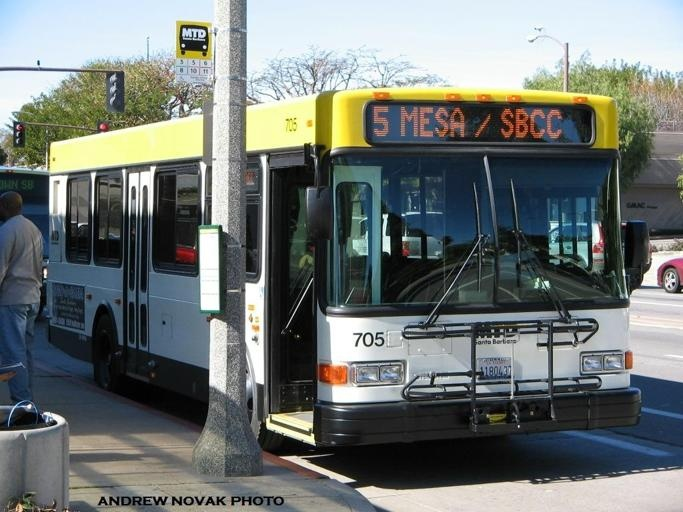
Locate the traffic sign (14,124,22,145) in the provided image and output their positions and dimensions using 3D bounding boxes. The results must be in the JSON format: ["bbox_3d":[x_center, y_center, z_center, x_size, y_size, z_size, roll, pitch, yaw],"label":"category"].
[{"bbox_3d":[-14.543,-5.490,33.009,0.422,0.856,0.640,4,-3,-26],"label":"traffic sign"}]
